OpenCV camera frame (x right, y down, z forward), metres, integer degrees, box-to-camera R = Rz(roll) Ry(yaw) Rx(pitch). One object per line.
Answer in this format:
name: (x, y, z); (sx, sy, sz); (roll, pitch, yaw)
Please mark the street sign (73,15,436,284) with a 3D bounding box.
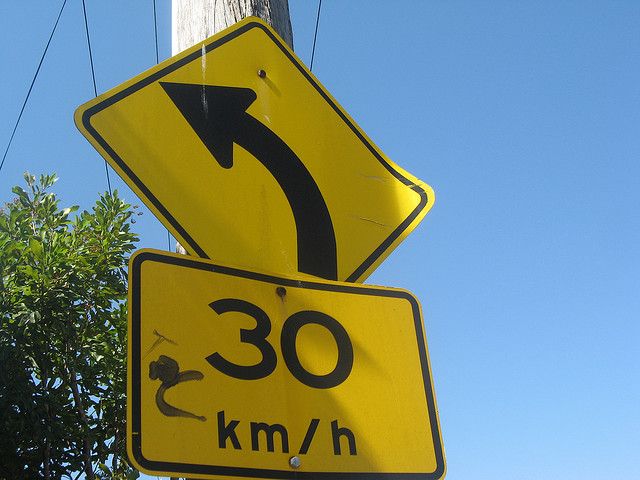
street sign: (-0.287, -0.311, 4.234); (0.905, 1.019, 0.082); (2, -18, -23)
